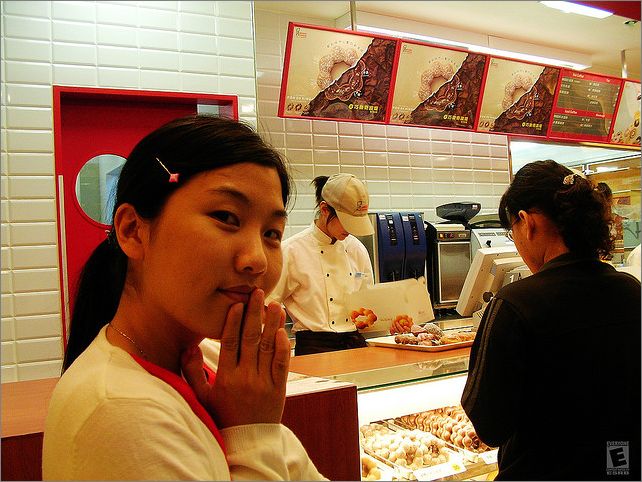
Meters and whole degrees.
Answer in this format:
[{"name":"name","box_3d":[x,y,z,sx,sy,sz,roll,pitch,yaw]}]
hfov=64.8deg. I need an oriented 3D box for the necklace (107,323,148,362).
[{"name":"necklace","box_3d":[-0.401,0.206,1.065,0.074,0.021,0.059,41,-18,-6]}]
